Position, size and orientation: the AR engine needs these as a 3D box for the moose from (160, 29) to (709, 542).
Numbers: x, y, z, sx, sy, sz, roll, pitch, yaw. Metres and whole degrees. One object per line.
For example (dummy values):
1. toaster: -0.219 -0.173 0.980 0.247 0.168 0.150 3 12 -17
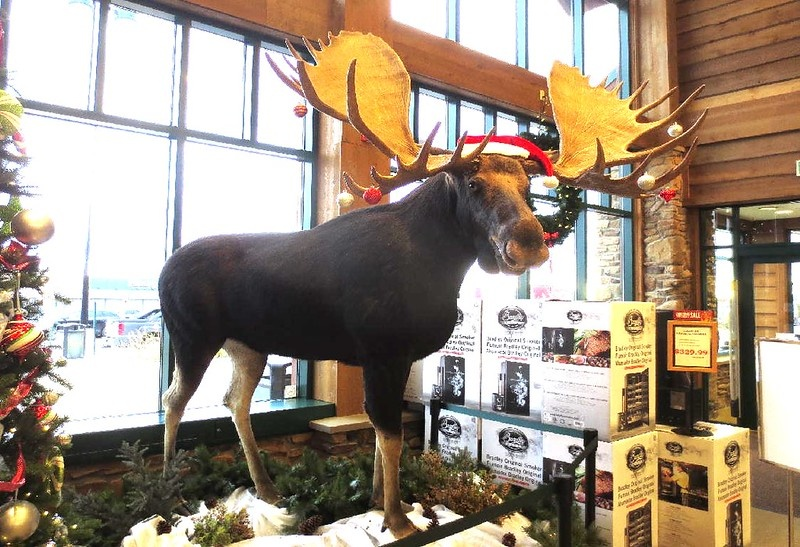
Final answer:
1. moose: -0.104 0.018 3.999 2.797 1.963 1.089 1 0 11
